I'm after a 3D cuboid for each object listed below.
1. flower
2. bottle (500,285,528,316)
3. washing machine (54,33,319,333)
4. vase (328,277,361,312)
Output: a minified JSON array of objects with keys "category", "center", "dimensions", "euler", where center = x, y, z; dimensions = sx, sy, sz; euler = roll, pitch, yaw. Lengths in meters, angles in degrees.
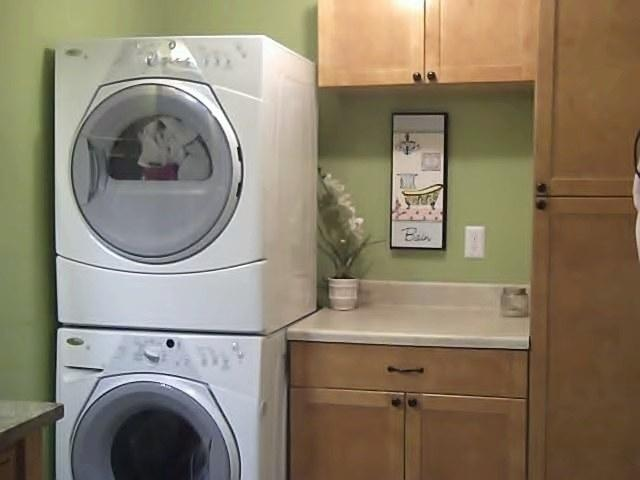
[{"category":"flower","center":[0.129,-0.072,2.807],"dimensions":[0.305,0.521,0.236],"euler":[2,7,9]},{"category":"bottle","center":[0.860,0.277,2.608],"dimensions":[0.121,0.130,0.114],"euler":[-4,5,-15]},{"category":"washing machine","center":[-0.558,-0.206,2.500],"dimensions":[0.872,1.166,0.832],"euler":[1,4,-1]},{"category":"vase","center":[0.113,0.255,2.711],"dimensions":[0.134,0.118,0.130],"euler":[0,-3,8]}]
